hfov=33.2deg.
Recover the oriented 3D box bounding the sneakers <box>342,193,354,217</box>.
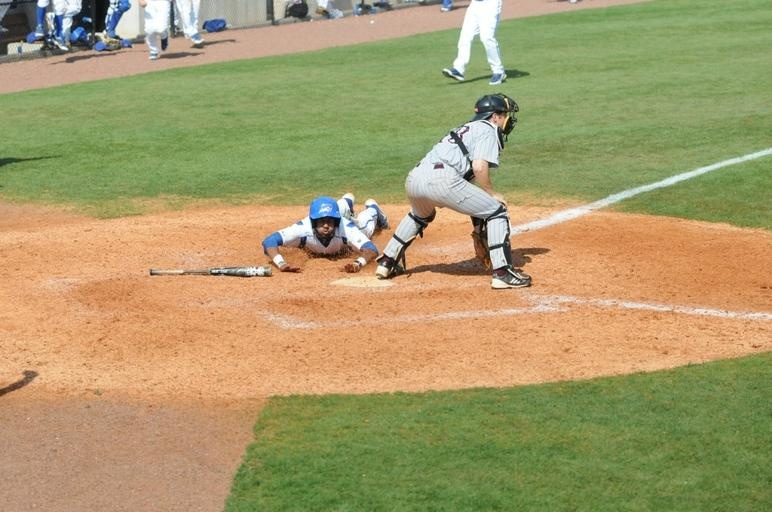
[{"bbox_3d":[-0.583,-0.776,19.617,0.308,0.156,0.381,-2,46,-6],"label":"sneakers"}]

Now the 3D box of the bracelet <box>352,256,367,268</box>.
[{"bbox_3d":[-0.388,0.109,18.541,0.137,0.161,0.388,-2,14,10],"label":"bracelet"}]

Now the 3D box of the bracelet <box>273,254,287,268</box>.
[{"bbox_3d":[-1.545,0.072,18.454,0.192,0.177,0.251,-7,15,-7],"label":"bracelet"}]

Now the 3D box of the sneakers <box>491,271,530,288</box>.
[{"bbox_3d":[1.703,0.338,17.694,0.591,0.194,0.209,-5,14,3],"label":"sneakers"}]

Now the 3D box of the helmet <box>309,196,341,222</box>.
[{"bbox_3d":[-0.912,-0.643,18.633,0.459,0.356,0.377,-5,16,-3],"label":"helmet"}]

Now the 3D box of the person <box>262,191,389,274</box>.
[{"bbox_3d":[-0.799,-0.419,19.120,1.167,0.477,1.733,4,17,14],"label":"person"}]
